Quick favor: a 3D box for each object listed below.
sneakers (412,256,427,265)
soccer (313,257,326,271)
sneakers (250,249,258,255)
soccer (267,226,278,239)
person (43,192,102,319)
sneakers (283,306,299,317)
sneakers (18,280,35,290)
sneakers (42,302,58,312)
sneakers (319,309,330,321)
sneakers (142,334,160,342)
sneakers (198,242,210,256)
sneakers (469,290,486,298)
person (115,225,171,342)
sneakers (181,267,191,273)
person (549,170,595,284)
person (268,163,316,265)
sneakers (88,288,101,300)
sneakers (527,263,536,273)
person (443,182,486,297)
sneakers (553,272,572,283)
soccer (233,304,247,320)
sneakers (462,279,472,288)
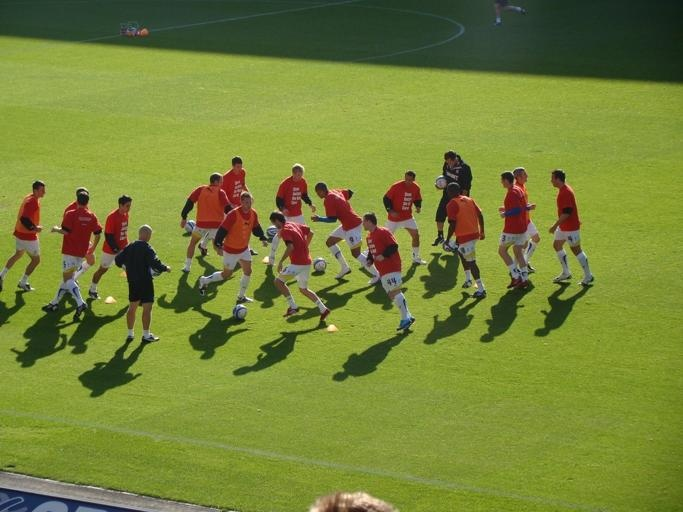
[{"bbox_3d":[2.252,0.187,32.035,0.372,0.145,0.186,2,16,10],"label":"sneakers"},{"bbox_3d":[-0.624,0.316,31.802,0.371,0.350,0.358,25,-12,-10],"label":"soccer"},{"bbox_3d":[-2.570,-0.070,32.124,0.197,0.135,0.061,-15,56,-14],"label":"sneakers"},{"bbox_3d":[-2.042,-0.652,32.617,0.244,0.269,0.234,-17,60,-49],"label":"soccer"},{"bbox_3d":[-7.129,-0.002,29.449,1.348,3.411,0.942,-1,11,-20],"label":"person"},{"bbox_3d":[-1.359,1.548,29.461,0.471,0.207,0.173,-16,-5,19],"label":"sneakers"},{"bbox_3d":[-8.714,0.860,30.457,0.470,0.198,0.165,16,40,2],"label":"sneakers"},{"bbox_3d":[-7.814,1.440,29.624,0.486,0.187,0.171,-2,3,-4],"label":"sneakers"},{"bbox_3d":[-0.419,1.613,29.267,0.175,0.355,0.159,47,3,-1],"label":"sneakers"},{"bbox_3d":[-4.940,2.178,28.577,0.485,0.199,0.168,0,16,3],"label":"sneakers"},{"bbox_3d":[-4.108,-0.175,32.766,0.219,0.476,0.172,4,6,29],"label":"sneakers"},{"bbox_3d":[3.722,1.095,30.194,0.437,0.147,0.194,2,-14,11],"label":"sneakers"},{"bbox_3d":[-5.101,0.761,28.312,1.358,3.078,0.999,2,10,-4],"label":"person"},{"bbox_3d":[-4.460,0.445,31.544,0.158,0.165,0.405,0,-2,-13],"label":"sneakers"},{"bbox_3d":[6.279,-0.719,30.295,1.375,3.172,0.868,1,10,-9],"label":"person"},{"bbox_3d":[-1.433,-1.125,31.920,1.400,2.994,0.999,-1,8,-22],"label":"person"},{"bbox_3d":[-6.790,1.107,30.258,0.404,0.185,0.150,31,30,-33],"label":"sneakers"},{"bbox_3d":[5.409,0.399,31.380,0.143,0.195,0.450,23,27,-10],"label":"sneakers"},{"bbox_3d":[3.461,-0.438,30.513,1.246,3.105,1.377,4,10,5],"label":"person"},{"bbox_3d":[6.184,0.637,30.675,0.613,0.265,0.223,0,20,33],"label":"sneakers"},{"bbox_3d":[-2.735,1.534,29.497,0.354,0.384,0.426,11,27,-19],"label":"soccer"},{"bbox_3d":[3.515,0.840,30.632,0.125,0.152,0.364,-22,12,-23],"label":"sneakers"}]
